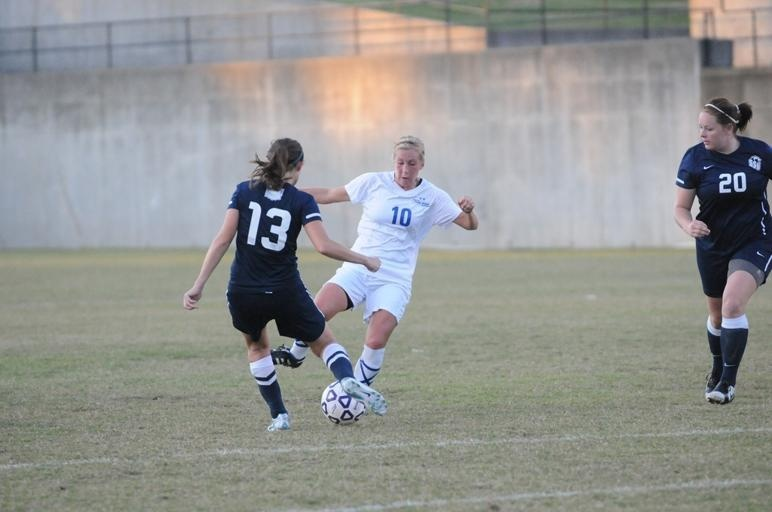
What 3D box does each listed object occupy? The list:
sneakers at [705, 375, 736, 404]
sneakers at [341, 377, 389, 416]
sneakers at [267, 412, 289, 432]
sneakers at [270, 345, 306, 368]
[{"bbox_3d":[3.475,1.396,14.937,0.304,0.257,0.410,2,13,13],"label":"sneakers"},{"bbox_3d":[-0.217,1.392,14.406,0.631,0.220,0.264,35,-10,2],"label":"sneakers"},{"bbox_3d":[-1.076,1.684,14.572,0.125,0.112,0.269,2,-2,-21],"label":"sneakers"},{"bbox_3d":[-1.076,1.059,15.078,0.434,0.143,0.199,24,12,-20],"label":"sneakers"}]
